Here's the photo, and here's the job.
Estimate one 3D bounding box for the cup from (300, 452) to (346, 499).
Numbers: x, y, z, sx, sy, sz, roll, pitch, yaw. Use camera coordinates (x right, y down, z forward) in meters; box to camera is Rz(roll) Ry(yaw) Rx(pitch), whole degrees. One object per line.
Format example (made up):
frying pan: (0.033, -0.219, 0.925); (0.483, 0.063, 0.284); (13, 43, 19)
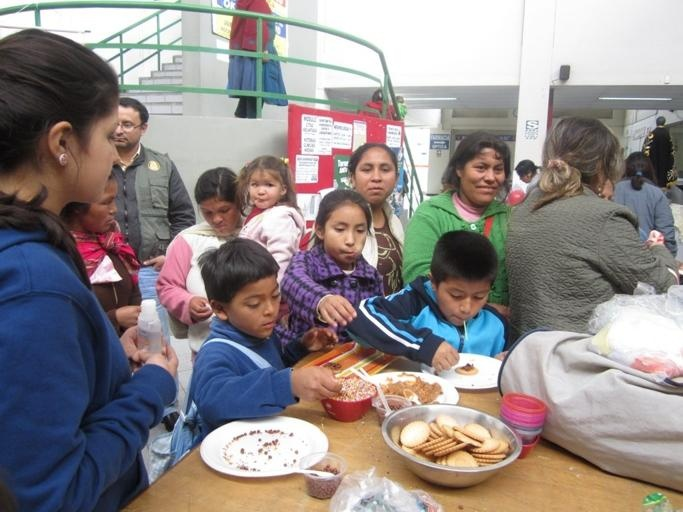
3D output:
cup: (-0.046, 0.586, 1.383); (0.115, 0.069, 0.111); (0, 12, 0)

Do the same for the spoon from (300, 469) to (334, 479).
spoon: (-0.057, 0.569, 1.354); (0.052, 0.008, 0.036); (2, 0, -12)

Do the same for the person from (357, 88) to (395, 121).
person: (0.486, -1.941, 6.503); (0.425, 0.407, 0.998); (1, 12, 6)

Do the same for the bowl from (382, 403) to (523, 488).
bowl: (0.302, 0.517, 1.422); (0.332, 0.082, 0.338); (-3, 13, 1)

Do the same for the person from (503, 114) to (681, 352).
person: (1.019, -0.084, 2.194); (0.530, 1.005, 0.651); (-1, 12, -6)

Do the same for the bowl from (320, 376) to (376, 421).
bowl: (0.012, 0.453, 1.666); (0.133, 0.063, 0.135); (-1, 12, 0)

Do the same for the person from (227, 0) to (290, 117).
person: (-0.880, -2.035, 5.339); (0.587, 1.244, 1.062); (-2, 12, -7)

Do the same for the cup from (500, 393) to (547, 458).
cup: (0.509, 0.458, 1.495); (0.149, 0.166, 0.152); (1, 22, 0)
